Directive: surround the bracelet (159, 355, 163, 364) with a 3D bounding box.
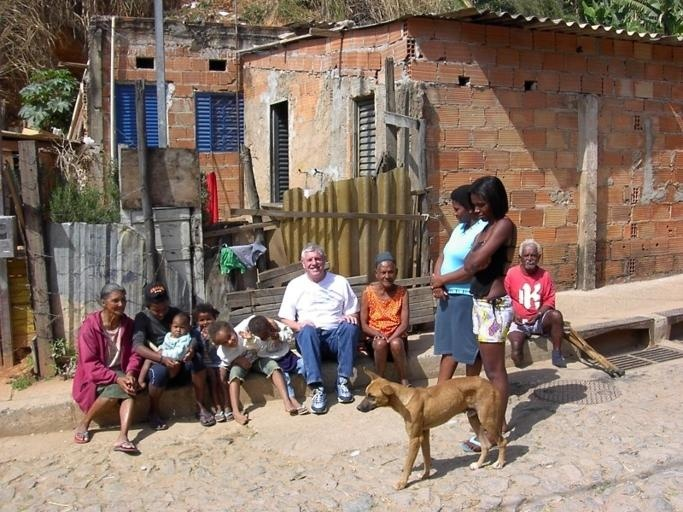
[{"bbox_3d":[-1.854,1.076,7.797,0.013,0.058,0.042,3,-1,5],"label":"bracelet"}]

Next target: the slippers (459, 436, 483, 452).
[{"bbox_3d":[1.232,1.797,7.167,0.189,0.149,0.352,2,3,6],"label":"slippers"}]

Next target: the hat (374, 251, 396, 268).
[{"bbox_3d":[0.480,0.031,8.288,0.151,0.147,0.192,-2,0,-2],"label":"hat"}]

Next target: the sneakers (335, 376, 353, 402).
[{"bbox_3d":[0.037,1.445,8.316,0.185,0.288,0.339,-4,6,-2],"label":"sneakers"}]

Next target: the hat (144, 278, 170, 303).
[{"bbox_3d":[-1.970,0.377,7.989,0.187,0.148,0.275,-10,6,-22],"label":"hat"}]

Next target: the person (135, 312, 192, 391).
[{"bbox_3d":[-1.825,0.990,7.887,0.575,0.739,0.272,-5,7,-12],"label":"person"}]

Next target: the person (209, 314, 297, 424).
[{"bbox_3d":[-0.972,1.190,8.031,0.765,0.696,1.161,-29,52,-19],"label":"person"}]

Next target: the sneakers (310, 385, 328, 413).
[{"bbox_3d":[-0.244,1.530,8.124,0.190,0.275,0.317,-4,6,-2],"label":"sneakers"}]
